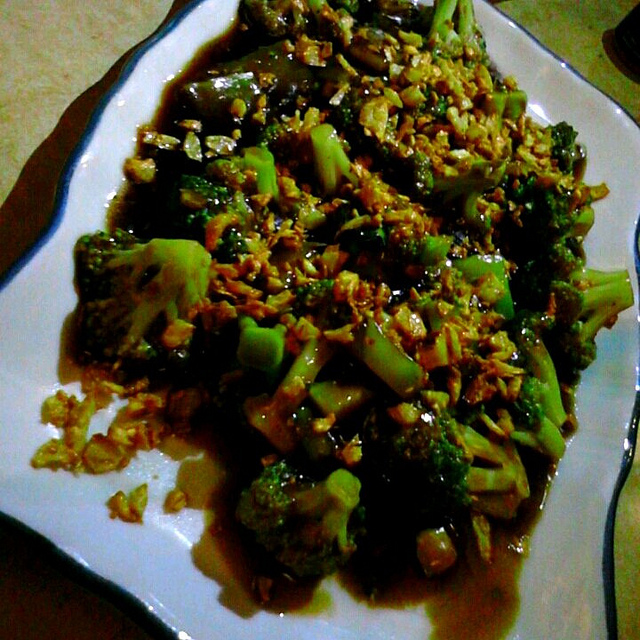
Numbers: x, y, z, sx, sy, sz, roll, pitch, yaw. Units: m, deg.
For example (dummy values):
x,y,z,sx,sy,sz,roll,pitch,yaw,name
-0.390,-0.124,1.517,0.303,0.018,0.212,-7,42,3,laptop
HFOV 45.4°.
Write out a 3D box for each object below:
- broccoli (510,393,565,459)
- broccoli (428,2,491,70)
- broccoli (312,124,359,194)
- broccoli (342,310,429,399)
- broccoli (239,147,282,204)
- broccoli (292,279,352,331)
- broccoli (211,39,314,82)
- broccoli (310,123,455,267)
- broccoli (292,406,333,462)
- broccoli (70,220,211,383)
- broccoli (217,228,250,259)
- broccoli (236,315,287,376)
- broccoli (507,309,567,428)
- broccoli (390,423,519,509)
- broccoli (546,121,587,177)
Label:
x,y,z,sx,sy,sz,roll,pitch,yaw,name
0.697,0.352,2.416,0.211,0.050,0.144,39,71,-20,broccoli
0.478,-1.000,2.663,0.174,0.270,0.195,16,62,19,broccoli
0.035,-0.501,2.291,0.102,0.048,0.206,-15,109,7,broccoli
0.208,0.094,2.181,0.260,0.135,0.071,-43,107,-7,broccoli
-0.171,-0.449,2.295,0.111,0.093,0.163,-4,64,-19,broccoli
0.008,-0.041,2.147,0.132,0.043,0.155,12,91,11,broccoli
-0.178,-0.843,2.445,0.233,0.066,0.159,-2,68,-12,broccoli
0.138,-0.343,2.337,0.297,0.129,0.551,-17,74,-5,broccoli
-0.018,0.331,2.166,0.091,0.043,0.187,-3,47,-23,broccoli
-0.516,-0.047,2.135,0.382,0.122,0.446,12,92,-8,broccoli
-0.240,-0.222,2.174,0.063,0.032,0.096,-2,90,-8,broccoli
-0.167,0.068,2.151,0.153,0.139,0.134,14,58,-9,broccoli
0.694,0.140,2.431,0.146,0.095,0.395,-8,86,-7,broccoli
0.399,0.417,2.233,0.362,0.092,0.266,33,74,-40,broccoli
0.866,-0.613,2.729,0.152,0.054,0.225,6,73,-28,broccoli
